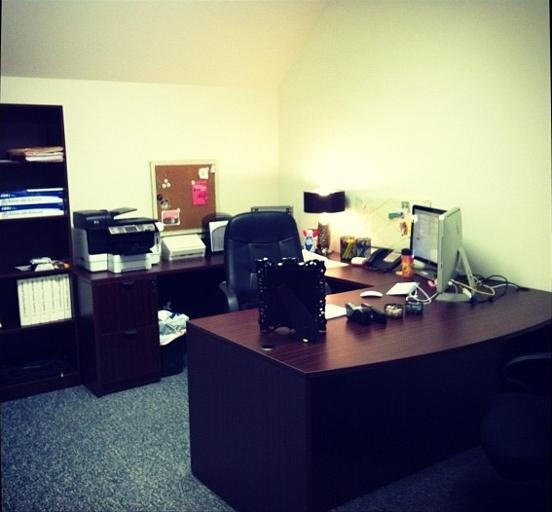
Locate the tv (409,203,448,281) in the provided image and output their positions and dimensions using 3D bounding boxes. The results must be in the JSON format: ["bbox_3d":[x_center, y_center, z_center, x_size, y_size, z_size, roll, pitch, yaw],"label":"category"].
[{"bbox_3d":[0.971,-0.078,3.046,0.138,0.460,0.436,-3,9,-8],"label":"tv"}]

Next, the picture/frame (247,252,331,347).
[{"bbox_3d":[0.088,0.181,2.206,0.306,0.359,0.172,0,7,29],"label":"picture/frame"}]

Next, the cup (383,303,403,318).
[{"bbox_3d":[0.588,0.271,2.380,0.069,0.046,0.071,0,8,0],"label":"cup"}]

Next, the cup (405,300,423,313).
[{"bbox_3d":[0.698,0.256,2.415,0.065,0.051,0.064,-1,9,0],"label":"cup"}]

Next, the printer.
[{"bbox_3d":[-1.152,-0.120,3.590,0.529,0.480,0.393,-9,8,-39],"label":"printer"}]

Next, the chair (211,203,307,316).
[{"bbox_3d":[-0.051,0.249,3.363,0.634,1.039,0.626,-1,48,3],"label":"chair"}]

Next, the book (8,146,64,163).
[{"bbox_3d":[-1.677,-0.708,3.343,0.397,0.107,0.211,-4,10,-15],"label":"book"}]

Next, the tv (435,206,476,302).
[{"bbox_3d":[1.073,-0.001,2.799,0.168,0.526,0.497,4,11,32],"label":"tv"}]
